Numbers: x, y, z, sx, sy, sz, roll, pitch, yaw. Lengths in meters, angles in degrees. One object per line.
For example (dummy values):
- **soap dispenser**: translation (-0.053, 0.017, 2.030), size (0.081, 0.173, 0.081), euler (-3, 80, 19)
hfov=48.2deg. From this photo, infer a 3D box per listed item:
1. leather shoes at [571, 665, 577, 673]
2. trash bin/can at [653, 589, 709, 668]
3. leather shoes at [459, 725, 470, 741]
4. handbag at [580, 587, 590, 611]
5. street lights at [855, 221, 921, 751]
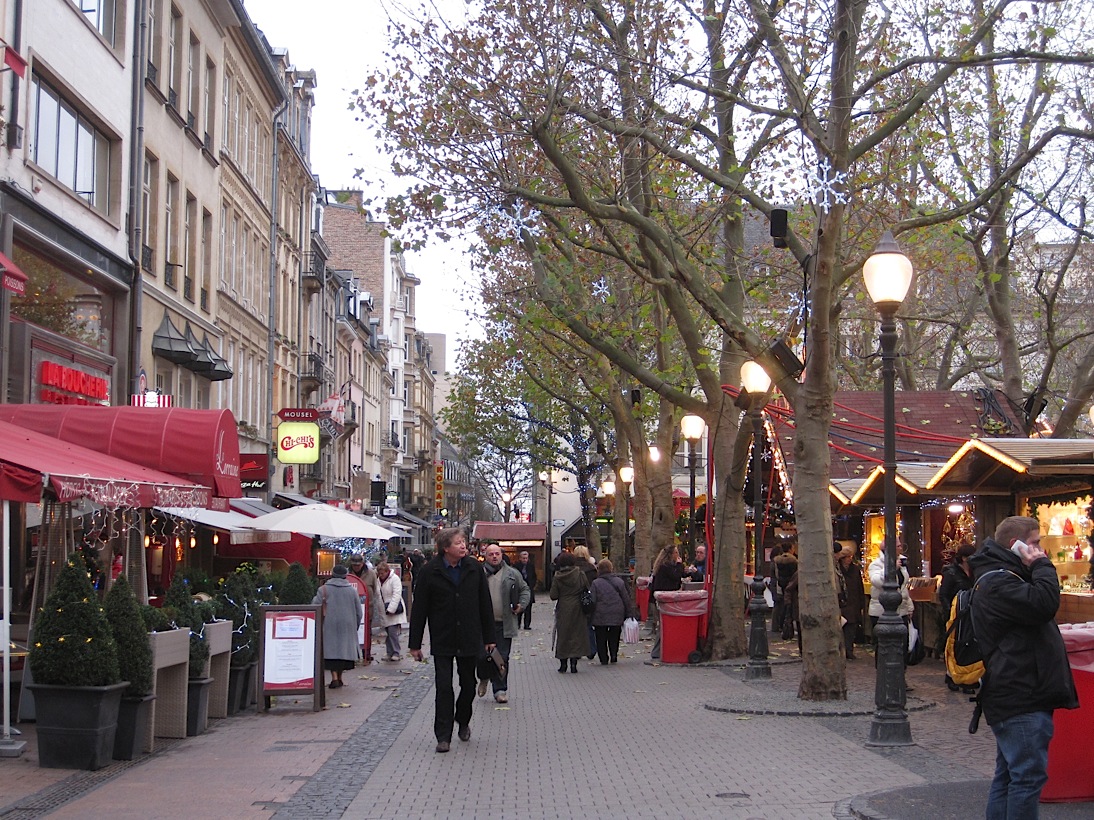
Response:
- **leather shoes**: translation (0.481, 4.653, 22.024), size (0.091, 0.170, 0.105), euler (-2, -2, -10)
- **trash bin/can**: translation (2.531, 4.288, 23.963), size (1.213, 1.601, 1.234), euler (1, -14, -3)
- **leather shoes**: translation (-0.956, 3.720, 14.106), size (0.128, 0.204, 0.384), euler (2, -14, -4)
- **handbag**: translation (0.663, 3.457, 22.350), size (0.198, 0.413, 0.405), euler (-4, -2, 8)
- **street lights**: translation (3.986, 0.792, 14.299), size (0.623, 6.048, 0.856), euler (-2, -12, 15)
